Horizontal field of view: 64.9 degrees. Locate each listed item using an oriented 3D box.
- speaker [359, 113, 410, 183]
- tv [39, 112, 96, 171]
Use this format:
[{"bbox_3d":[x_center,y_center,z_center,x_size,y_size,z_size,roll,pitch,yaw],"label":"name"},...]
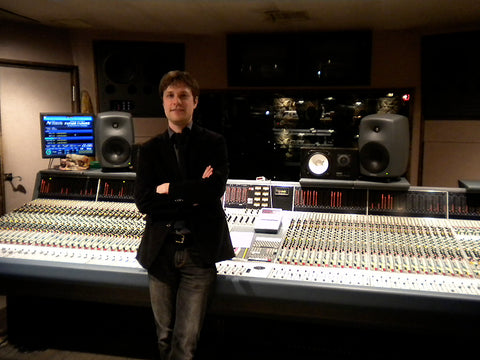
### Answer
[{"bbox_3d":[1.212,-0.291,3.185,0.392,0.498,0.167,3,12,16],"label":"speaker"},{"bbox_3d":[-1.772,-0.417,3.911,0.706,0.813,0.265,0,-1,-10],"label":"tv"}]
